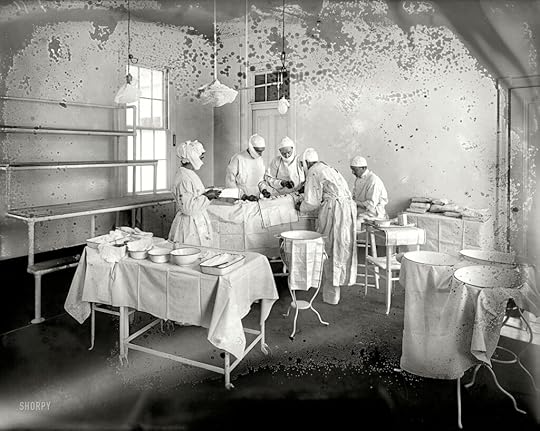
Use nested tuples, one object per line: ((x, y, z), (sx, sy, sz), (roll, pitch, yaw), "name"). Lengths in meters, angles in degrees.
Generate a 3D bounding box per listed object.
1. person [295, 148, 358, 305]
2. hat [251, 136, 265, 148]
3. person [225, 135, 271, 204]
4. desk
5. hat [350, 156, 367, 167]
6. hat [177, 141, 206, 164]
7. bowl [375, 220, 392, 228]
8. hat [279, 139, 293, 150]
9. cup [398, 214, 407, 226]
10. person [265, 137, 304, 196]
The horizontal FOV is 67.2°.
((0.730, 0.182, 5.036), (0.625, 1.659, 0.573), (5, 7, 43), "person")
((-0.175, -1.071, 5.901), (0.136, 0.164, 0.201), (-2, 14, -3), "hat")
((-0.317, -0.718, 5.936), (0.629, 0.894, 1.042), (0, 5, -6), "person")
((2.612, 0.256, 5.776), (1.168, 0.652, 0.807), (6, 4, 30), "desk")
((1.180, -0.696, 5.384), (0.183, 0.137, 0.191), (3, 11, 22), "hat")
((-0.845, -0.672, 4.342), (0.270, 0.251, 0.209), (0, 5, -13), "hat")
((1.285, 0.091, 4.627), (0.165, 0.074, 0.142), (2, 5, 14), "bowl")
((0.249, -1.030, 5.905), (0.159, 0.154, 0.166), (0, 1, 1), "hat")
((1.516, 0.042, 4.637), (0.107, 0.135, 0.125), (2, 5, 16), "cup")
((0.273, -0.664, 6.218), (0.672, 1.028, 0.626), (-5, 33, -6), "person")
